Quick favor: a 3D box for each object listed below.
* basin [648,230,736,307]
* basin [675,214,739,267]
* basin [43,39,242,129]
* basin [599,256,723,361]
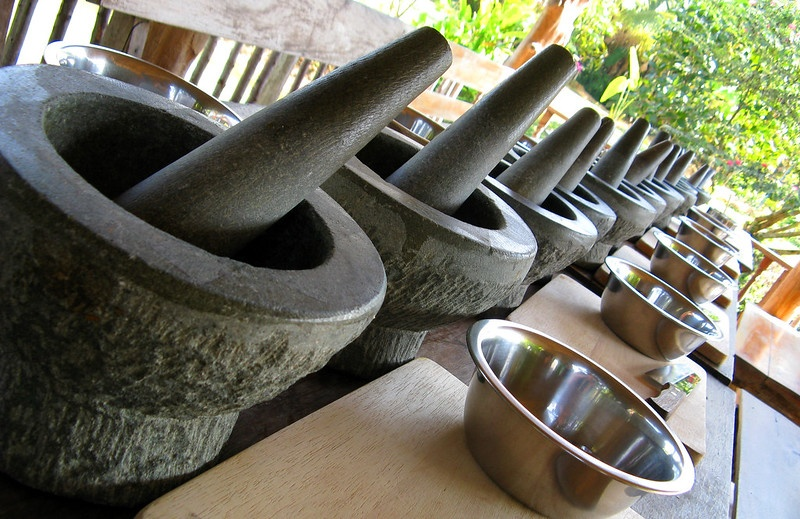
[{"bbox_3d":[0.864,0.056,1.816,0.104,0.290,0.283,-23,16,-35],"label":"basin"},{"bbox_3d":[1.289,-0.079,2.461,0.262,0.097,0.263,32,8,-5],"label":"basin"},{"bbox_3d":[-0.427,-0.244,0.956,0.244,0.060,0.241,30,15,-9],"label":"basin"},{"bbox_3d":[0.621,0.140,1.439,0.299,0.133,0.307,21,24,-10],"label":"basin"}]
